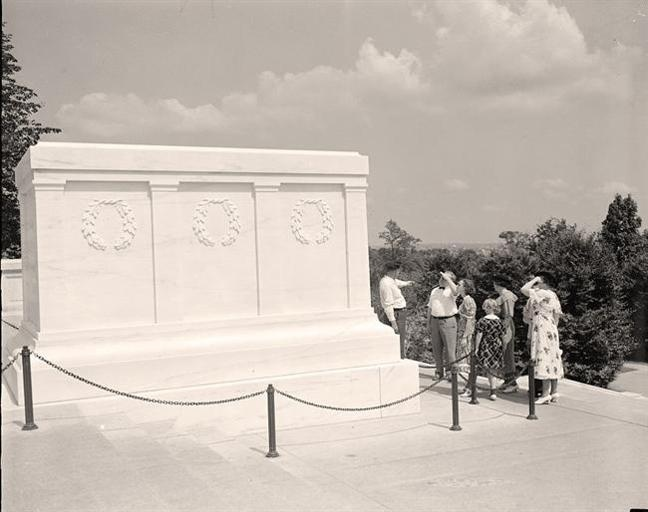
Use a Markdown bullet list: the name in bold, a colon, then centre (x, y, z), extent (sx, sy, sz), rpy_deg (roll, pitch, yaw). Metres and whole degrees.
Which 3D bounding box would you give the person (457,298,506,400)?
- **person**: centre (2.720, 1.649, 14.032), extent (0.633, 1.748, 1.308), rpy_deg (7, 12, 12)

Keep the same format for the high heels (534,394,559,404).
- **high heels**: centre (3.757, 2.435, 13.998), extent (0.447, 0.162, 0.159), rpy_deg (0, -3, -20)

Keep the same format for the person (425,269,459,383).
- **person**: centre (2.131, 1.148, 14.784), extent (0.475, 1.744, 0.765), rpy_deg (2, 12, -9)

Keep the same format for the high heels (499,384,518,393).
- **high heels**: centre (3.255, 2.376, 14.672), extent (0.307, 0.140, 0.156), rpy_deg (-3, -3, 28)
